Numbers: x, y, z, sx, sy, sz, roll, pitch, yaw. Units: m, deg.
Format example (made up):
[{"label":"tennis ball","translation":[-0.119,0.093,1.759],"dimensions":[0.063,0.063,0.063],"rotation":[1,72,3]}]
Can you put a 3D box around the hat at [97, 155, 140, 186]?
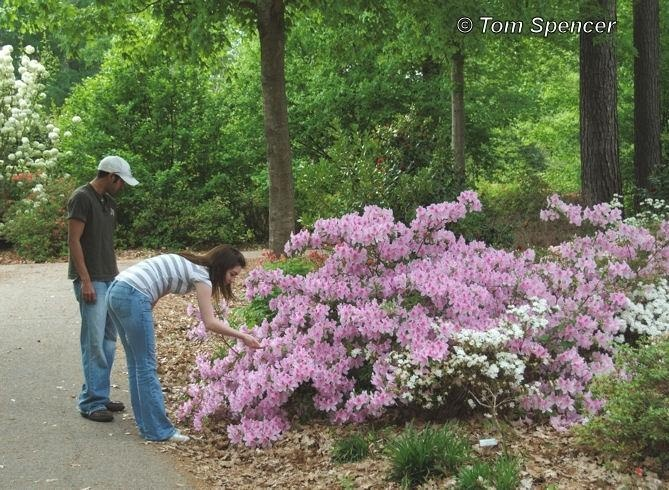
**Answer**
[{"label":"hat","translation":[-3.106,-1.048,14.374],"dimensions":[0.609,0.332,0.391],"rotation":[13,-15,-8]}]

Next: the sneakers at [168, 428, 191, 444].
[{"label":"sneakers","translation":[-2.160,2.655,13.989],"dimensions":[0.359,0.247,0.128],"rotation":[-4,6,-4]}]

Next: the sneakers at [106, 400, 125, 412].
[{"label":"sneakers","translation":[-3.161,2.301,14.369],"dimensions":[0.234,0.092,0.124],"rotation":[0,3,35]}]
